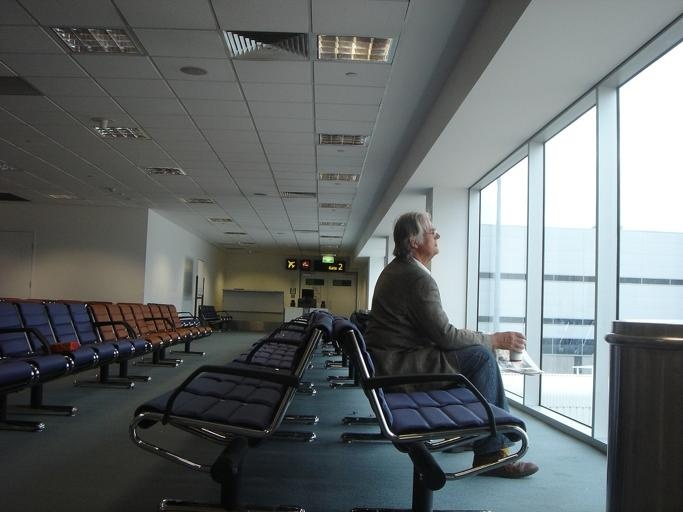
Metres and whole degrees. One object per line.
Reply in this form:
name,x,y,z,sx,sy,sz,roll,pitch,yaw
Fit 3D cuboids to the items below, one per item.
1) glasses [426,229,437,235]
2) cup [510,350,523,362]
glasses,0.600,-0.151,3.017,0.049,0.051,0.016,4,28,4
cup,1.006,0.580,2.621,0.059,0.056,0.060,1,-5,0
